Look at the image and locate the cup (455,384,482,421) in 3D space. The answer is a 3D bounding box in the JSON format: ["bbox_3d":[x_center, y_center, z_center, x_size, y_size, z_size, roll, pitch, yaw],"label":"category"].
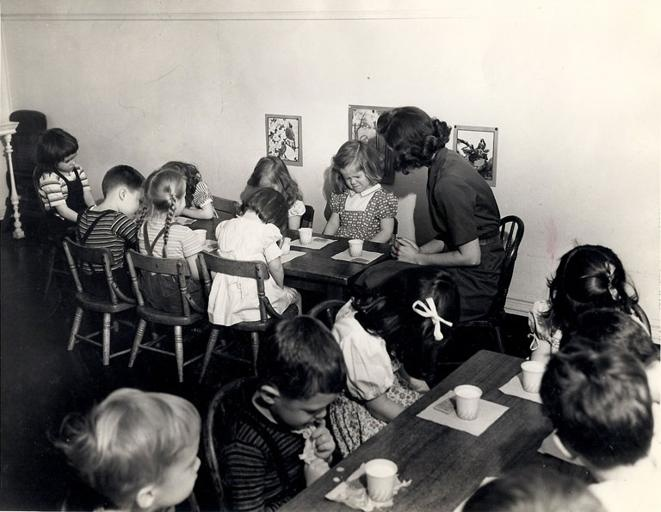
[{"bbox_3d":[0.432,0.441,1.673,0.080,0.076,0.091,8,21,19],"label":"cup"}]

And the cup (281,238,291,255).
[{"bbox_3d":[-0.269,-0.058,3.235,0.067,0.084,0.083,2,11,-2],"label":"cup"}]

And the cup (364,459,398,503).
[{"bbox_3d":[0.132,0.584,1.431,0.077,0.070,0.086,12,21,30],"label":"cup"}]

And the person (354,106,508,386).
[{"bbox_3d":[0.590,-0.138,3.052,0.758,1.380,0.636,-4,20,10],"label":"person"}]

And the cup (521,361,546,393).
[{"bbox_3d":[0.678,0.401,1.790,0.087,0.077,0.084,-1,10,0],"label":"cup"}]

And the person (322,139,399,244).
[{"bbox_3d":[0.174,-0.399,3.611,0.515,0.776,0.410,9,33,16],"label":"person"}]

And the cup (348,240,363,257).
[{"bbox_3d":[0.138,-0.052,3.092,0.085,0.071,0.084,-2,19,1],"label":"cup"}]

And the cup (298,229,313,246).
[{"bbox_3d":[-0.166,-0.123,3.350,0.090,0.085,0.088,-1,16,0],"label":"cup"}]

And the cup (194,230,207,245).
[{"bbox_3d":[-0.767,-0.102,3.130,0.077,0.082,0.081,0,12,0],"label":"cup"}]

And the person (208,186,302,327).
[{"bbox_3d":[-0.535,0.013,3.112,0.469,0.758,0.566,7,2,16],"label":"person"}]
